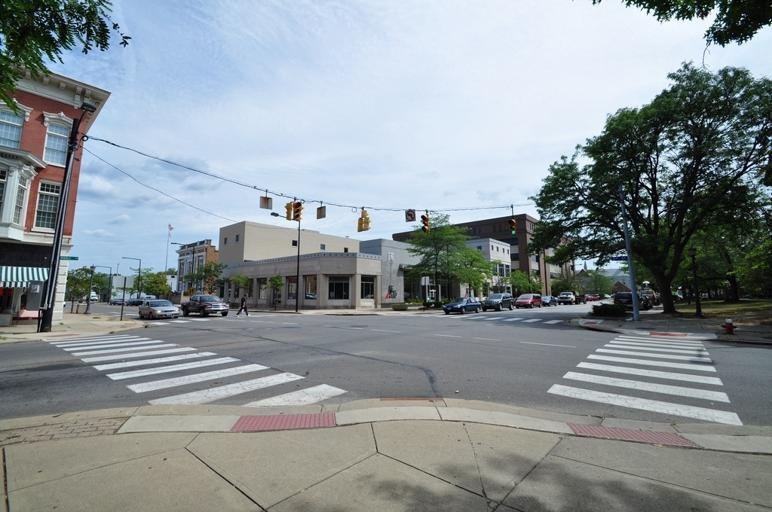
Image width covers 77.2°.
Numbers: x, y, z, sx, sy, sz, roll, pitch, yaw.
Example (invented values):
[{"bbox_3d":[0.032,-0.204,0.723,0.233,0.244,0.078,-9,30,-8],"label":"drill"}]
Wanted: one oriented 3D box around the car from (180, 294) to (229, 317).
[{"bbox_3d":[-14.215,3.935,38.079,4.185,1.334,1.941,-11,-12,43],"label":"car"}]
